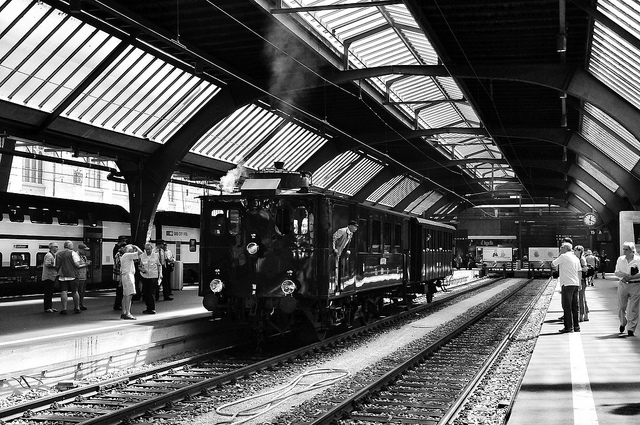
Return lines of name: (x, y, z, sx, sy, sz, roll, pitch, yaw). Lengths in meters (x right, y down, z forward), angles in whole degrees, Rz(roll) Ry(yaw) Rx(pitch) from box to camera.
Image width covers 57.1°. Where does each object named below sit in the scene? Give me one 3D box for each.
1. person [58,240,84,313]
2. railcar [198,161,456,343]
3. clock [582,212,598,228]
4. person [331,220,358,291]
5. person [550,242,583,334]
person: (-7.969, 2.038, 18.735, 0.743, 2.232, 0.674, 3, -9, -29)
railcar: (0.832, 1.725, 21.978, 3.868, 4.708, 12.903, -3, -8, 24)
clock: (25.934, 0.646, 56.035, 1.414, 1.563, 1.521, 5, -2, 12)
person: (0.740, 1.167, 16.675, 0.450, 1.951, 1.157, -4, -8, 24)
person: (7.272, 2.176, 17.131, 0.579, 2.600, 0.882, -8, -10, 42)
